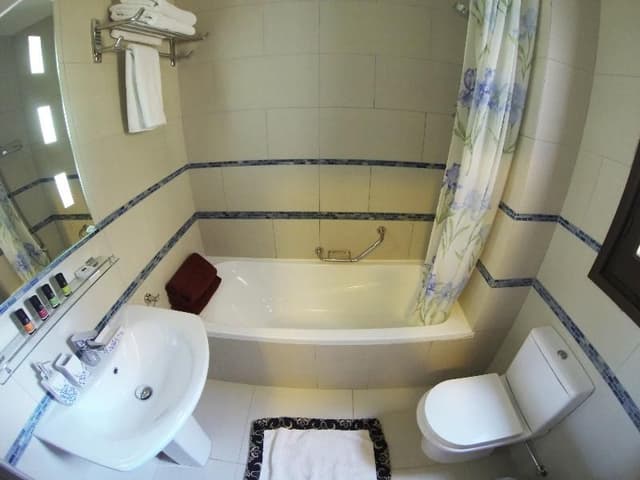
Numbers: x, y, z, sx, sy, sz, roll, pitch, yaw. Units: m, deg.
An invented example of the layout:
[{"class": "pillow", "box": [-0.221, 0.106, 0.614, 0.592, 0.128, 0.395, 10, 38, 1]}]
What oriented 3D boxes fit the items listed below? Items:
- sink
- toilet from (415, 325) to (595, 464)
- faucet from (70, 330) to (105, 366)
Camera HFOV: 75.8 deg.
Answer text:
[{"class": "sink", "box": [-0.947, 0.697, 2.130, 0.727, 0.859, 0.228, -9, -53, 7]}, {"class": "toilet", "box": [0.971, 0.991, 2.478, 0.706, 0.479, 1.003, -5, -46, -6]}, {"class": "faucet", "box": [-1.185, 0.551, 2.090, 0.102, 0.080, 0.175, -11, -58, 3]}]
